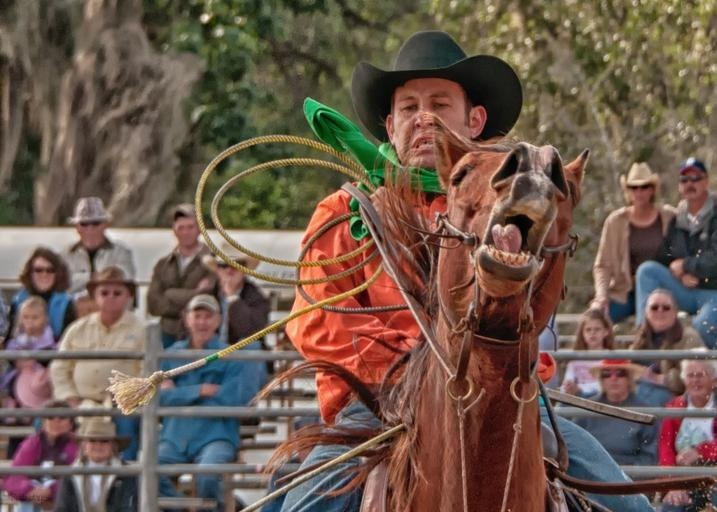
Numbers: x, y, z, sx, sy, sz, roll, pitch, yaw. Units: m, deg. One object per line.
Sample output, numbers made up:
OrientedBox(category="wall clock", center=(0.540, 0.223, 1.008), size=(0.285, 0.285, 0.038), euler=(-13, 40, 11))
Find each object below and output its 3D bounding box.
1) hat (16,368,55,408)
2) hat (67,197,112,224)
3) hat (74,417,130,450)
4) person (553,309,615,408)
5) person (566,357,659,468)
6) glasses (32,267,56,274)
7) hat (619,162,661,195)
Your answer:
OrientedBox(category="hat", center=(-3.133, 1.299, 20.652), size=(0.383, 0.368, 0.348), euler=(12, -7, -12))
OrientedBox(category="hat", center=(-2.721, -0.449, 21.441), size=(0.309, 0.167, 0.310), euler=(-1, -10, -20))
OrientedBox(category="hat", center=(-2.443, 1.689, 20.290), size=(0.521, 0.296, 0.192), euler=(0, -8, 26))
OrientedBox(category="person", center=(2.242, 0.944, 21.015), size=(0.486, 0.836, 0.256), euler=(-2, -12, 29))
OrientedBox(category="person", center=(2.391, 1.505, 19.966), size=(0.854, 1.286, 0.514), euler=(-4, -32, 5))
OrientedBox(category="glasses", center=(-3.072, 0.142, 20.899), size=(0.200, 0.054, 0.043), euler=(6, -7, -16))
OrientedBox(category="hat", center=(2.962, -0.816, 22.497), size=(0.477, 0.276, 0.637), euler=(-1, -10, 6))
